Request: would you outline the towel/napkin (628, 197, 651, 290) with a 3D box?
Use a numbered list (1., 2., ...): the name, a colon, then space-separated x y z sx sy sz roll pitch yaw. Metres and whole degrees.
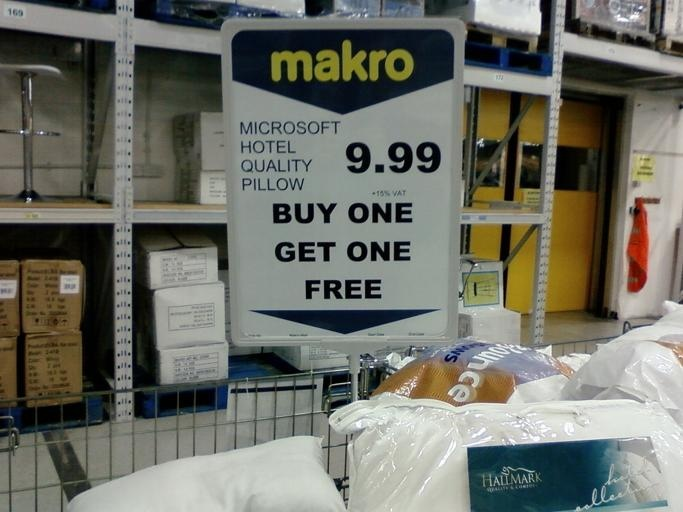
1. towel/napkin: 2.504 -0.094 7.060 0.149 0.806 0.216 -1 1 -15
